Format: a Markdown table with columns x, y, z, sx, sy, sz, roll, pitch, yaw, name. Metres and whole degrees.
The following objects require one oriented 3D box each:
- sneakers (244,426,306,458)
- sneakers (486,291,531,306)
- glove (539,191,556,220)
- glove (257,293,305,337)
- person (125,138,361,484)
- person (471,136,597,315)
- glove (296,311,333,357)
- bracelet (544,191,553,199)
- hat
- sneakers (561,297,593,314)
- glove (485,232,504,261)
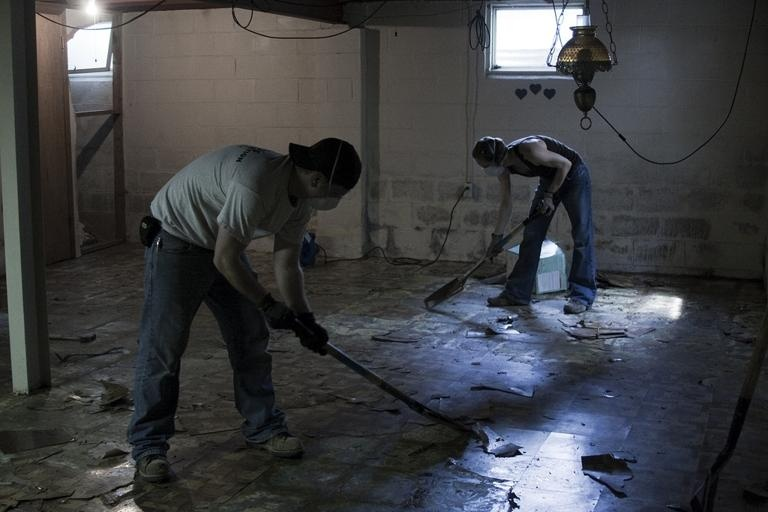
| x | y | z | sx | sy | sz | roll | pitch | yaw | name |
| --- | --- | --- | --- | --- | --- | --- | --- | --- | --- |
| -0.699 | 1.200 | 3.919 | 0.338 | 0.138 | 0.147 | 1 | 11 | 12 | sneakers |
| 1.342 | 0.468 | 6.697 | 0.496 | 0.207 | 0.173 | -1 | -3 | 8 | sneakers |
| 1.738 | -0.541 | 6.361 | 0.104 | 0.228 | 0.166 | 13 | 6 | -10 | glove |
| -0.593 | 0.350 | 3.577 | 0.258 | 0.293 | 0.139 | -11 | 18 | -34 | glove |
| -0.892 | 0.321 | 3.631 | 1.361 | 2.007 | 0.476 | -2 | 15 | -4 | person |
| 1.700 | -0.338 | 6.469 | 1.118 | 1.813 | 0.601 | 5 | 16 | 18 | person |
| -0.446 | 0.482 | 3.715 | 0.157 | 0.278 | 0.091 | -39 | 0 | -21 | glove |
| 1.692 | -0.628 | 6.279 | 0.067 | 0.049 | 0.056 | 5 | 10 | 32 | bracelet |
| -0.200 | -0.542 | 3.455 | 0.507 | 0.255 | 0.314 | -4 | 14 | -28 | hat |
| 2.047 | 0.531 | 6.479 | 0.213 | 0.126 | 0.329 | 9 | 17 | 31 | sneakers |
| 1.214 | -0.109 | 6.794 | 0.202 | 0.294 | 0.127 | 15 | 9 | -28 | glove |
